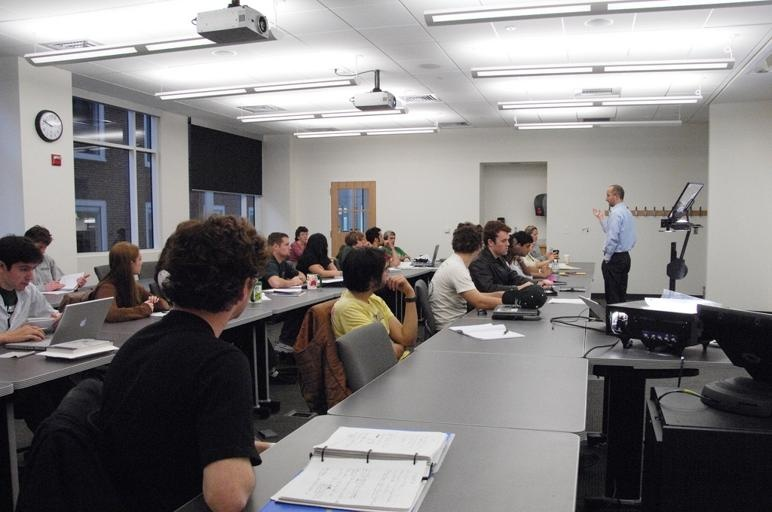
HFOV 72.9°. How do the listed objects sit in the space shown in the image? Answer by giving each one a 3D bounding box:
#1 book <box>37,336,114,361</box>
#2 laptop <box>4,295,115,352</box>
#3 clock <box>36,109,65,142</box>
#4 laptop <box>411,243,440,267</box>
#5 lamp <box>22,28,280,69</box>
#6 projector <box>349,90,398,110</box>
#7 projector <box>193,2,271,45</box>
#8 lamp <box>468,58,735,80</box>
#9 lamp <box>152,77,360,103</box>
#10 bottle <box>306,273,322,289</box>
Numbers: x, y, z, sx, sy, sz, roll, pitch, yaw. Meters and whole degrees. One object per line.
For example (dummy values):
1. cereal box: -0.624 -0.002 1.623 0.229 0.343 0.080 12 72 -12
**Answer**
1. book: -1.810 0.542 3.050 0.251 0.055 0.277 0 2 22
2. laptop: -1.971 0.400 3.192 0.388 0.232 0.369 1 -5 16
3. clock: -4.348 -1.670 6.800 0.075 0.406 0.361 4 6 20
4. laptop: 0.642 0.080 8.623 0.413 0.321 0.563 -1 -1 7
5. lamp: -2.475 -2.211 5.618 2.749 0.120 0.389 -3 18 7
6. projector: -0.164 -2.089 6.969 0.476 0.170 0.272 -1 1 11
7. projector: -1.284 -1.845 4.433 0.414 0.254 0.415 -1 0 15
8. lamp: 2.455 -2.110 5.896 2.703 0.128 0.294 3 5 8
9. lamp: -1.699 -2.175 6.843 2.954 0.127 0.320 4 5 22
10. bottle: -0.776 0.263 5.608 0.147 0.140 0.144 0 -5 -8
